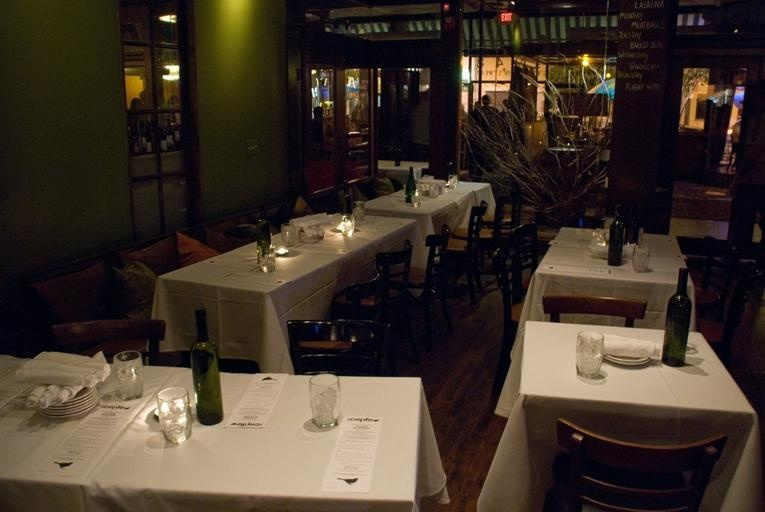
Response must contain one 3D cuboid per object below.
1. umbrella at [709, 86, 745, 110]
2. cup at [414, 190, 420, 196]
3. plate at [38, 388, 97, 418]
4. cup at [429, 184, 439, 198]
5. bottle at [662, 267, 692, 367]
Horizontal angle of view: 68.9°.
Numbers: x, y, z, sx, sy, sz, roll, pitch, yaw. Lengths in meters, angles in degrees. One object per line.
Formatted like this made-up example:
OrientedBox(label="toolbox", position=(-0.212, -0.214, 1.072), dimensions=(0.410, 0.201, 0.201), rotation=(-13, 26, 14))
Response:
OrientedBox(label="umbrella", position=(4.585, -2.112, 7.404), dimensions=(0.298, 0.151, 0.229), rotation=(-1, 7, 23))
OrientedBox(label="cup", position=(0.448, -0.817, 7.147), dimensions=(0.089, 0.097, 0.094), rotation=(-3, 15, 1))
OrientedBox(label="plate", position=(-1.410, 0.646, 2.539), dimensions=(0.147, 0.069, 0.155), rotation=(1, 7, 0))
OrientedBox(label="cup", position=(0.666, -0.865, 7.322), dimensions=(0.113, 0.226, 0.155), rotation=(7, 12, 41))
OrientedBox(label="bottle", position=(1.559, 0.292, 2.932), dimensions=(0.122, 0.536, 0.243), rotation=(8, 19, 28))
